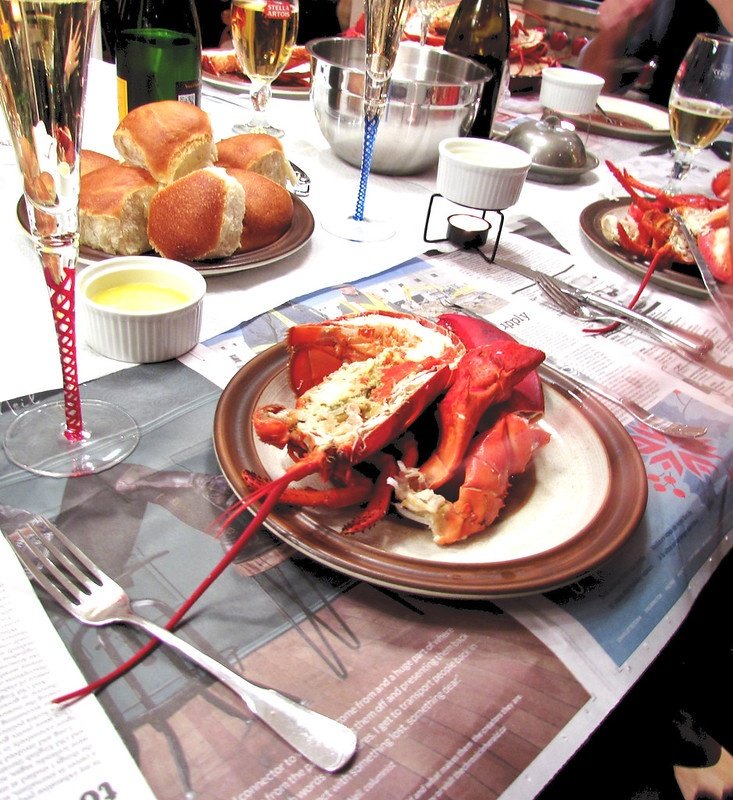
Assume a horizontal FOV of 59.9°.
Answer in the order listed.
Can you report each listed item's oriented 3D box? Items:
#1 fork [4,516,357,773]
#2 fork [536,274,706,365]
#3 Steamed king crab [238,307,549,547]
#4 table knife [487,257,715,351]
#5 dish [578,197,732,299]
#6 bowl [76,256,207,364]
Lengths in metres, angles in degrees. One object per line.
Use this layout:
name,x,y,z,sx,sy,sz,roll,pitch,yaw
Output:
fork,-0.101,0.134,0.343,0.215,0.023,0.028,25,47,19
fork,0.307,-0.094,0.767,0.227,0.027,0.045,30,51,18
Steamed king crab,0.039,-0.018,0.444,0.173,0.067,0.192,17,41,23
table knife,0.236,-0.132,0.850,0.385,0.050,0.068,23,33,33
dish,0.374,-0.197,0.911,0.183,0.028,0.175,33,47,20
bowl,-0.220,-0.075,0.596,0.110,0.049,0.113,5,26,-2
